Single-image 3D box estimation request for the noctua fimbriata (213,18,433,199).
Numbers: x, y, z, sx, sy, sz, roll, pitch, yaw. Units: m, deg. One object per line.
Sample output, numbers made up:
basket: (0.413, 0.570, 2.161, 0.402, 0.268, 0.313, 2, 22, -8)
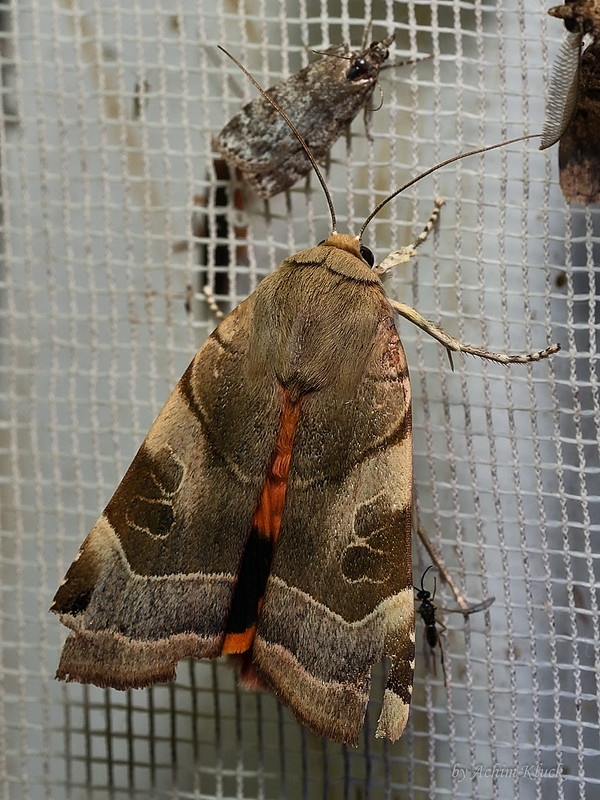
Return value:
noctua fimbriata: (0.006, -0.566, 3.262, 0.419, 0.111, 0.287, -43, 93, -8)
